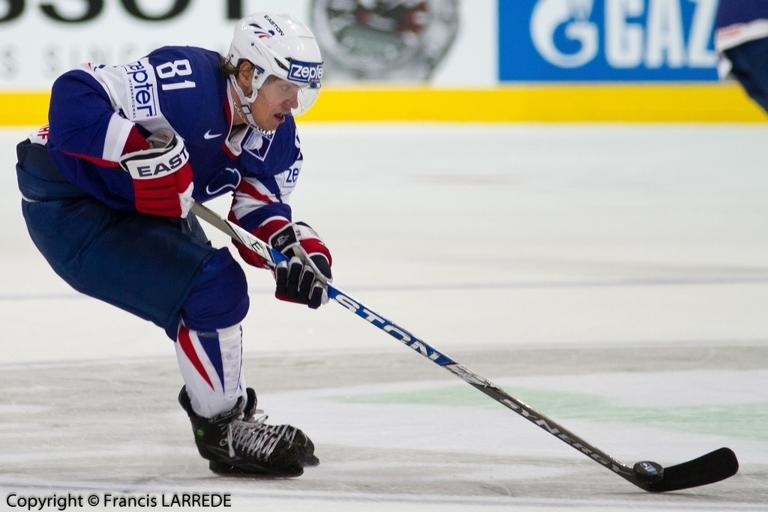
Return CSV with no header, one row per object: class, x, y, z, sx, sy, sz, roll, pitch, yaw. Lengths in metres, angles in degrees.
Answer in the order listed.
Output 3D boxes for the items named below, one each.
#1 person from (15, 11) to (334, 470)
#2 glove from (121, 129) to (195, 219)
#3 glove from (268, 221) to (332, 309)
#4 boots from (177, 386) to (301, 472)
person,-0.796,-0.055,4.083,1.187,1.754,0.530,1,9,-3
glove,-0.861,-0.294,3.989,0.311,0.247,0.229,-9,27,-16
glove,-0.311,0.025,4.109,0.162,0.264,0.319,-38,39,17
boots,-0.510,0.692,4.056,0.499,0.289,0.165,-5,13,29
